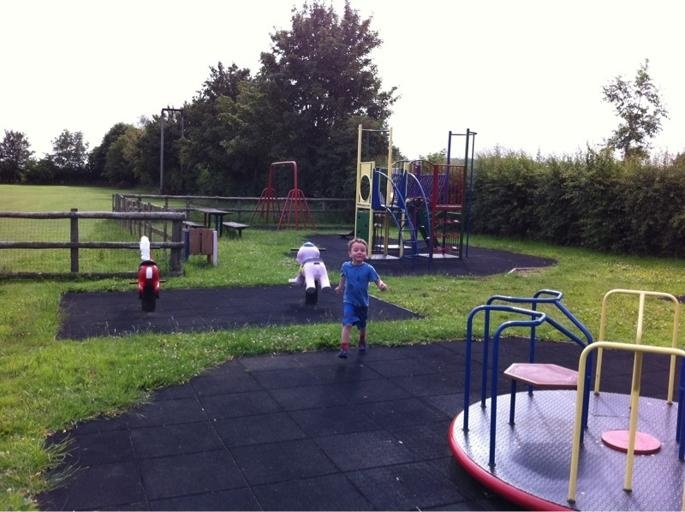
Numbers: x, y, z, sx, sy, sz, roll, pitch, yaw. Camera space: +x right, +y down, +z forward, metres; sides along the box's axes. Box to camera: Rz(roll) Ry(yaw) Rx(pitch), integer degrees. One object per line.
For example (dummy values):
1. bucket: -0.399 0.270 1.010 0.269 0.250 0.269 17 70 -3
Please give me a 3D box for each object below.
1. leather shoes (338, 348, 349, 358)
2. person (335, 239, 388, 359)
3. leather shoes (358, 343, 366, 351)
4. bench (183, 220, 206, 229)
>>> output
1. leather shoes: 0.005 1.180 8.417 0.070 0.107 0.229 2 -8 -6
2. person: 0.175 0.507 8.642 0.542 1.407 0.601 0 4 -15
3. leather shoes: 0.244 1.141 8.691 0.073 0.142 0.077 0 0 17
4. bench: -4.081 -0.848 18.856 0.453 0.102 3.079 1 5 -14
